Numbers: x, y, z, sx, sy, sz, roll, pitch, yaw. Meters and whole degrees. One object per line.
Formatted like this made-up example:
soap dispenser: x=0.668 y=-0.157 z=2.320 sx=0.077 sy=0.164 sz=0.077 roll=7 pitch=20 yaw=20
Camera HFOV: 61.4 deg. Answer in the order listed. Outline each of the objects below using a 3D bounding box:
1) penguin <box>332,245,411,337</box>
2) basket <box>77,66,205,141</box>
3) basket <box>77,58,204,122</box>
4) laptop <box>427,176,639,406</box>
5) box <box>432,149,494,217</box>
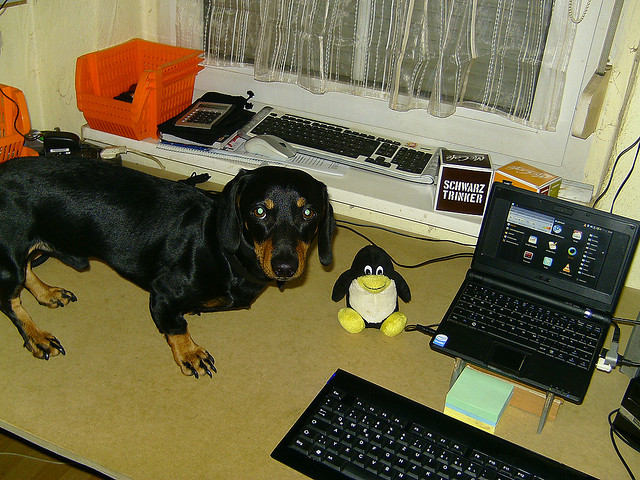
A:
penguin: x=0.163 y=0.150 z=1.649 sx=0.245 sy=0.267 sz=0.197 roll=1 pitch=12 yaw=-3
basket: x=-0.743 y=-0.601 z=2.227 sx=0.402 sy=0.208 sz=0.493 roll=8 pitch=28 yaw=20
basket: x=-0.715 y=-0.644 z=2.081 sx=0.226 sy=0.117 sz=0.351 roll=23 pitch=55 yaw=30
laptop: x=0.576 y=0.127 z=1.430 sx=0.411 sy=0.358 sz=0.391 roll=20 pitch=35 yaw=22
box: x=0.505 y=-0.190 z=2.000 sx=0.213 sy=0.214 sz=0.218 roll=11 pitch=19 yaw=-4
